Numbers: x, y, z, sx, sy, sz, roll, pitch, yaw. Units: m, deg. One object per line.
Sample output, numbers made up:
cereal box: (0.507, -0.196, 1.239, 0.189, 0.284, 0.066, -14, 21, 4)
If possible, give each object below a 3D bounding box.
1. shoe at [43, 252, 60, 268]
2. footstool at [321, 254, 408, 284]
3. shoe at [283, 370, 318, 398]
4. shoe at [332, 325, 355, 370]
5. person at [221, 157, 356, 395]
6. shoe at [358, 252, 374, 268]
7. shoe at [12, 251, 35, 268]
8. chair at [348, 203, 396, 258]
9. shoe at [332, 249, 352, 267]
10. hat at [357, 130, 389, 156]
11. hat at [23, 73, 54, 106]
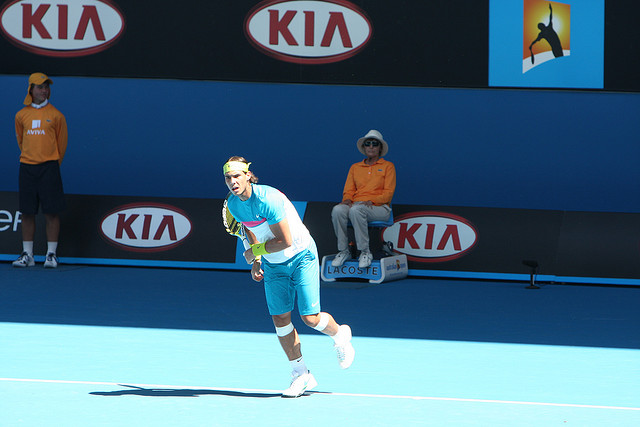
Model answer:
shoe: (-4.085, 0.704, 10.267, 0.193, 0.247, 0.167, -5, 14, -25)
footstool: (0.588, 0.779, 10.223, 1.099, 0.362, 0.918, 1, 10, 17)
shoe: (-0.185, 1.606, 6.500, 0.350, 0.206, 0.264, -1, 13, -6)
shoe: (0.257, 1.328, 6.717, 0.157, 0.453, 0.198, -4, 0, 26)
person: (-0.331, 0.564, 6.539, 1.327, 2.208, 0.791, 3, 13, 8)
shoe: (0.663, 0.672, 9.862, 0.185, 0.211, 0.244, 1, 13, 2)
shoe: (-4.481, 0.696, 10.241, 0.307, 0.259, 0.188, -6, 14, -28)
chair: (0.875, 0.296, 10.272, 0.611, 0.743, 0.688, 0, -11, 31)
shoe: (0.302, 0.636, 9.967, 0.380, 0.148, 0.137, -26, 23, -38)
hat: (0.824, -1.134, 10.450, 0.430, 0.196, 0.427, 10, -33, 19)
hat: (-4.307, -1.893, 10.354, 0.376, 0.482, 0.498, -3, 13, -17)
